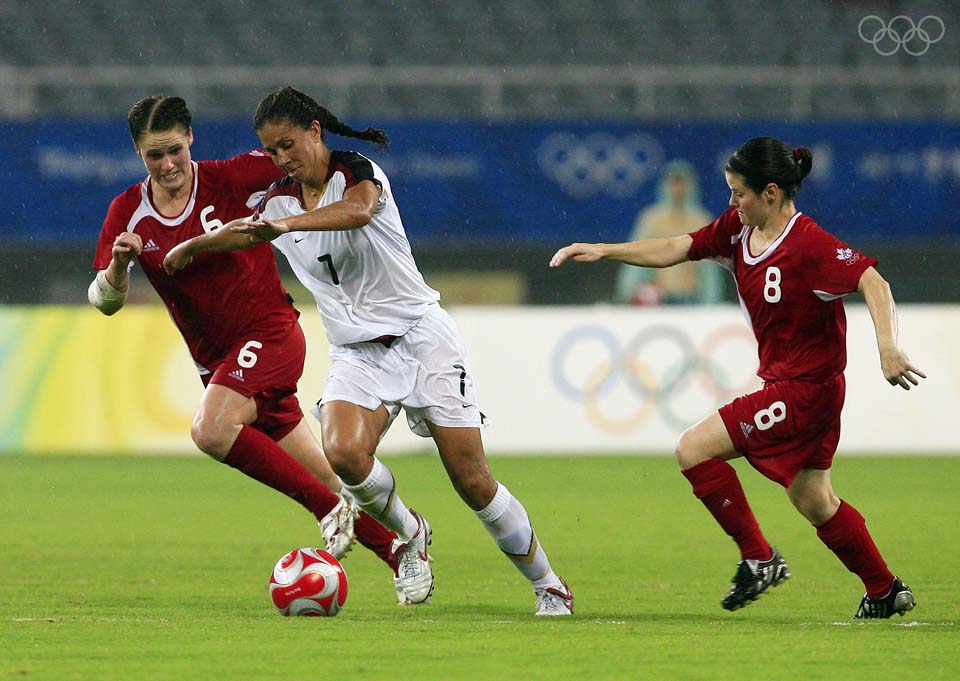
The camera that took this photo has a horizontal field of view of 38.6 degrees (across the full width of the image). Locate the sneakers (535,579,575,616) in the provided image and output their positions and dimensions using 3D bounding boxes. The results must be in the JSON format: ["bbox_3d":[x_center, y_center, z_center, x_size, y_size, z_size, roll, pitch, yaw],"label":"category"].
[{"bbox_3d":[0.417,1.469,7.758,0.266,0.166,0.122,0,-12,-16],"label":"sneakers"}]

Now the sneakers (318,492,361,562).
[{"bbox_3d":[-0.848,1.107,8.168,0.216,0.157,0.441,20,46,-6],"label":"sneakers"}]

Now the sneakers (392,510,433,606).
[{"bbox_3d":[-0.338,1.264,7.995,0.207,0.539,0.285,-10,-13,38],"label":"sneakers"}]

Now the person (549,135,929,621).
[{"bbox_3d":[1.655,0.207,7.707,1.578,2.693,0.744,2,5,16],"label":"person"}]
